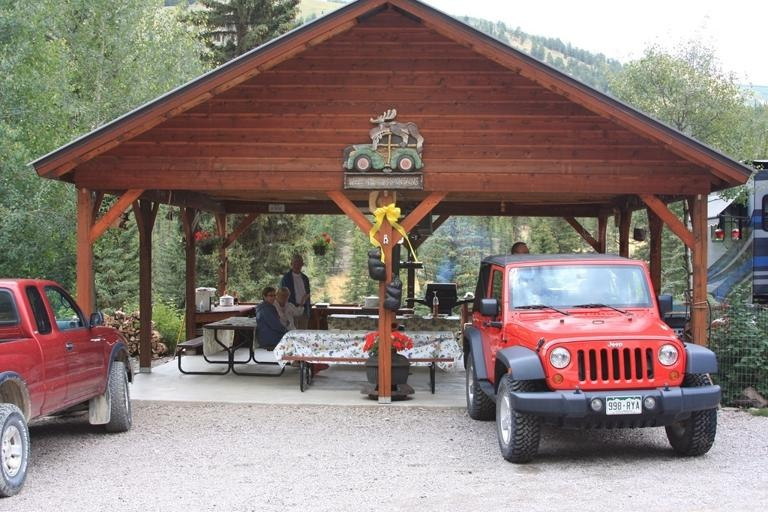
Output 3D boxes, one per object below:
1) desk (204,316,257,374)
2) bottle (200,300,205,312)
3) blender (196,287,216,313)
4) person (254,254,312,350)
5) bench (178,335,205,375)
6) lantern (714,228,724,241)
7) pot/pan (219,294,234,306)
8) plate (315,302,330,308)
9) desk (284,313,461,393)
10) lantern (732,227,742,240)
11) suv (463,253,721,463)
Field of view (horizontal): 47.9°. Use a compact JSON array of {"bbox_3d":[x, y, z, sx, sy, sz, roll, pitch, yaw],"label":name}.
[{"bbox_3d":[-3.452,1.977,19.434,1.021,1.217,2.880,0,-4,-11],"label":"desk"},{"bbox_3d":[-4.441,1.213,21.136,0.126,0.257,0.042,0,-4,-13],"label":"bottle"},{"bbox_3d":[-4.404,1.070,21.296,0.362,0.568,0.760,-2,-4,27],"label":"blender"},{"bbox_3d":[-2.576,1.074,21.782,1.065,3.153,1.038,3,30,4],"label":"person"},{"bbox_3d":[-4.345,2.206,19.344,0.612,0.742,3.485,0,-4,-13],"label":"bench"},{"bbox_3d":[9.371,-0.601,24.071,0.240,0.309,0.359,1,-4,-15],"label":"lantern"},{"bbox_3d":[-3.971,1.112,21.828,0.280,0.231,0.286,-2,-3,32],"label":"pot/pan"},{"bbox_3d":[-1.542,1.227,21.724,0.367,0.124,0.617,0,-4,-6],"label":"plate"},{"bbox_3d":[-0.205,1.899,17.954,3.530,1.392,3.657,-1,-4,4],"label":"desk"},{"bbox_3d":[9.612,-0.608,23.505,0.104,0.246,0.271,8,16,-41],"label":"lantern"},{"bbox_3d":[3.164,1.495,13.441,3.777,3.234,2.210,-2,-4,14],"label":"suv"}]
